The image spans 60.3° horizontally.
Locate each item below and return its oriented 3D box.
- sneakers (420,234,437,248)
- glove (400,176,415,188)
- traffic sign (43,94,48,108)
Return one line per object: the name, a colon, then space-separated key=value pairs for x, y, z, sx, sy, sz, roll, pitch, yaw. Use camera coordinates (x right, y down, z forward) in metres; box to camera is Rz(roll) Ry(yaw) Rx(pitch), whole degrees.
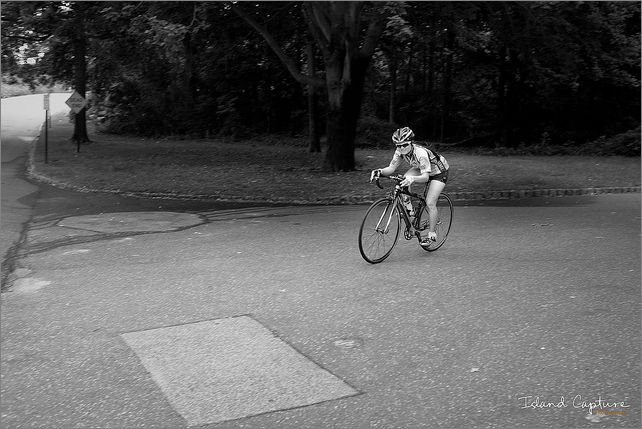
sneakers: x=1.774 y=0.442 z=9.128 sx=0.424 sy=0.119 sz=0.149 roll=-7 pitch=11 yaw=-39
glove: x=1.361 y=-0.518 z=8.660 sx=0.191 sy=0.181 sz=0.285 roll=9 pitch=11 yaw=33
traffic sign: x=-13.440 y=-5.546 z=27.087 sx=0.201 sy=0.759 sz=0.731 roll=-3 pitch=11 yaw=-32
